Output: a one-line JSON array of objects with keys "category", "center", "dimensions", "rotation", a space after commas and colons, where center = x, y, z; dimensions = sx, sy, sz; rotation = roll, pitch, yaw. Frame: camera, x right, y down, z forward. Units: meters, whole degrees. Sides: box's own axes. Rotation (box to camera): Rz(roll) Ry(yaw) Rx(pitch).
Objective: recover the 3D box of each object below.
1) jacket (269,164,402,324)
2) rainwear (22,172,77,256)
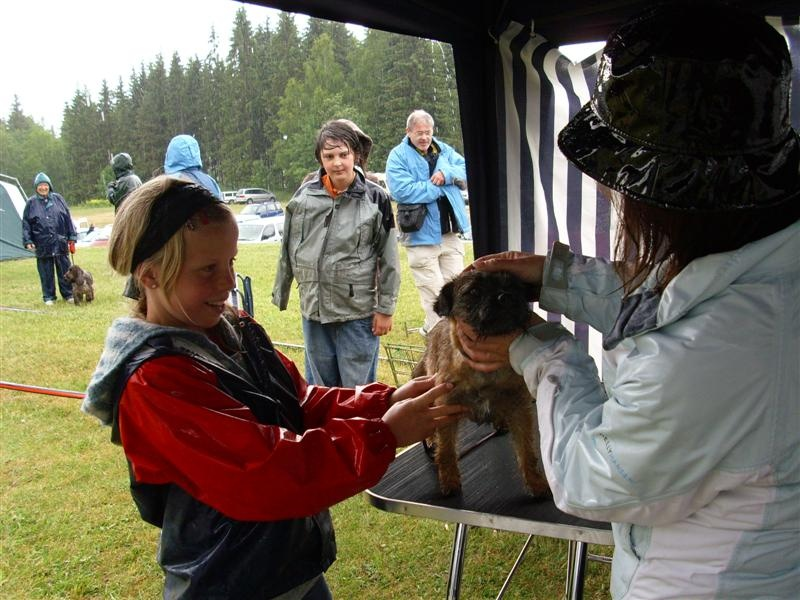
[{"category": "jacket", "center": [-0.539, -0.496, 5.370], "dimensions": [0.987, 1.401, 0.733], "rotation": [8, 15, 23]}, {"category": "rainwear", "center": [-7.458, -1.657, 12.771], "dimensions": [0.870, 1.945, 0.943], "rotation": [20, 18, 42]}]
